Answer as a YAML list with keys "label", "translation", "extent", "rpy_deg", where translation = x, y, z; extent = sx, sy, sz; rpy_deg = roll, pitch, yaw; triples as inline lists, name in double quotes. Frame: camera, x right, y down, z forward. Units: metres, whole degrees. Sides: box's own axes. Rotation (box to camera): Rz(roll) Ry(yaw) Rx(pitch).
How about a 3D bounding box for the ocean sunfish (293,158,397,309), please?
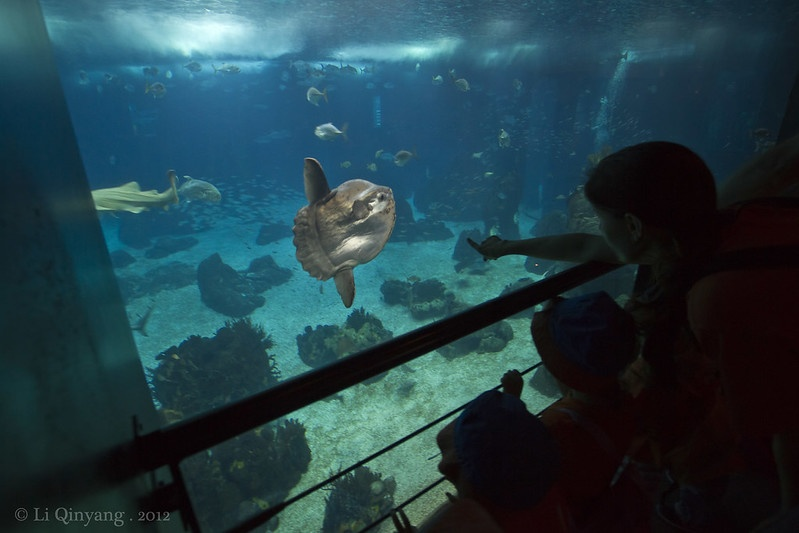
- label: "ocean sunfish"
  translation: [-0.774, -0.586, 7.185]
  extent: [1.365, 1.563, 0.557]
  rpy_deg: [12, 31, 25]
